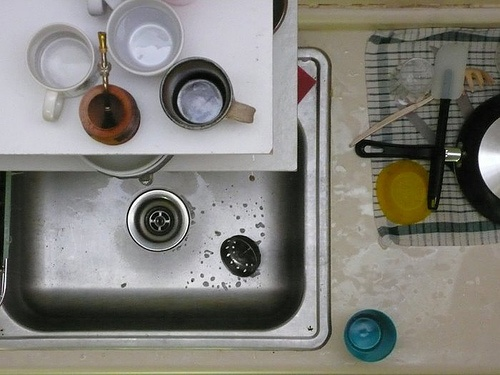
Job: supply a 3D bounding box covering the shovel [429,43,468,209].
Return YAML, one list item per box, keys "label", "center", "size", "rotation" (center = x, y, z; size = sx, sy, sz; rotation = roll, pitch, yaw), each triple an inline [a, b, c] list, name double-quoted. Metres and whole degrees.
- label: "shovel"
  center: [0.553, -0.170, 1.746]
  size: [0.101, 0.036, 0.519]
  rotation: [9, 95, 38]

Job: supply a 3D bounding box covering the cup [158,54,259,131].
- label: "cup"
  center: [-0.089, -0.228, 1.456]
  size: [0.211, 0.147, 0.152]
  rotation: [20, 94, -3]
